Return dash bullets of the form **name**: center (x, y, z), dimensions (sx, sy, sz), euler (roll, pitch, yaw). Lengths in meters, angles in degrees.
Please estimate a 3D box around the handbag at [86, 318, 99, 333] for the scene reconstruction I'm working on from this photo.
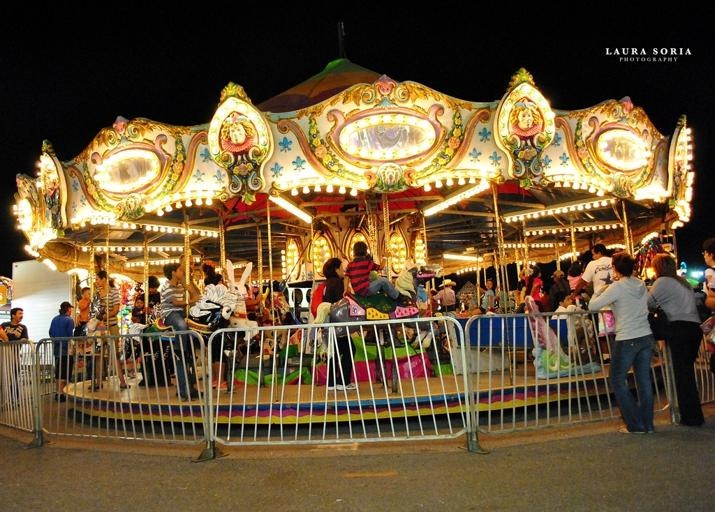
- **handbag**: center (-4.557, 1.177, 10.773), dimensions (0.167, 0.082, 0.239), euler (13, -45, 4)

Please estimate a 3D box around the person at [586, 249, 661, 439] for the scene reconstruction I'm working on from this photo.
- **person**: center (3.180, 1.015, 7.438), dimensions (0.698, 2.087, 0.350), euler (-4, -8, 7)

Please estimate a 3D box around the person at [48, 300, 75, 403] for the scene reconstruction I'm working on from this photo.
- **person**: center (-5.495, 1.777, 11.899), dimensions (0.508, 1.789, 0.537), euler (-5, -6, 32)
